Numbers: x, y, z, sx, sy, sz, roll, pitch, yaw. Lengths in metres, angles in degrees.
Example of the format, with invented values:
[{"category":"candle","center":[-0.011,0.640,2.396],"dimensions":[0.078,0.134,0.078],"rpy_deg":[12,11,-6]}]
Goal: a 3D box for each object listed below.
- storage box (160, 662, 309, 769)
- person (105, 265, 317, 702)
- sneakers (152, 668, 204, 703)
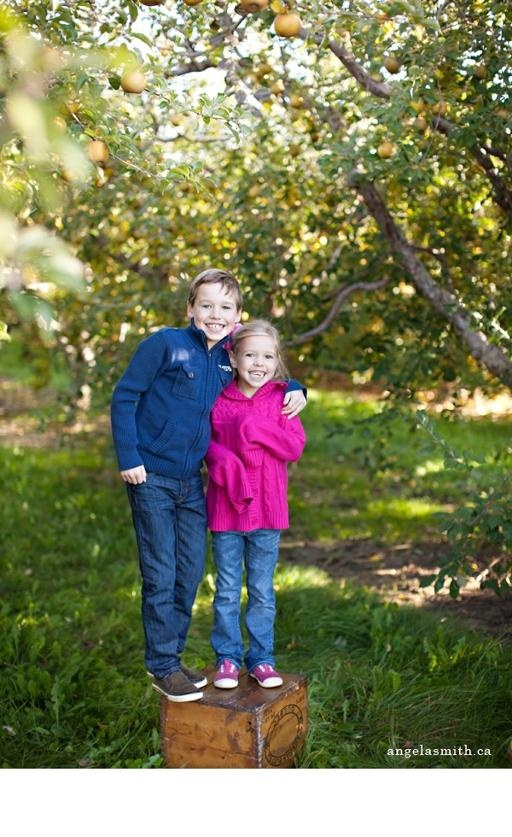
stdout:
[{"category":"storage box","center":[-0.059,0.961,2.437],"dimensions":[0.340,0.261,0.333],"rpy_deg":[0,3,33]},{"category":"person","center":[-0.254,0.184,2.434],"dimensions":[0.393,1.292,0.564],"rpy_deg":[0,12,1]},{"category":"sneakers","center":[-0.243,0.805,2.378],"dimensions":[0.075,0.062,0.181],"rpy_deg":[-3,1,-42]}]
